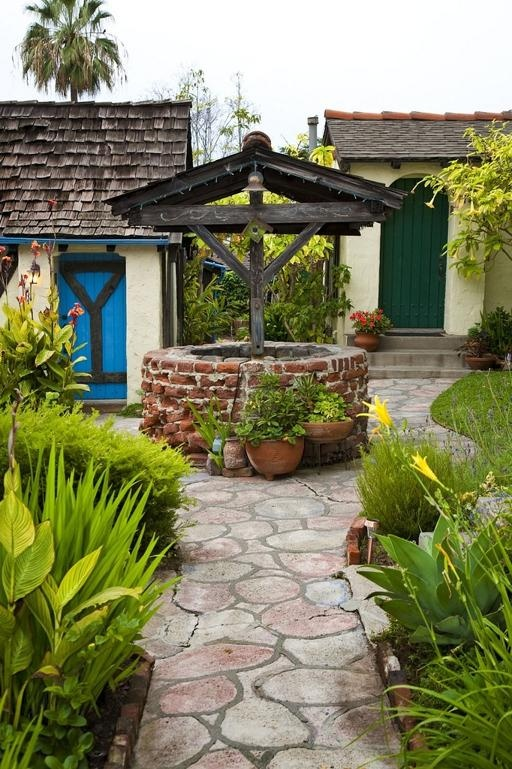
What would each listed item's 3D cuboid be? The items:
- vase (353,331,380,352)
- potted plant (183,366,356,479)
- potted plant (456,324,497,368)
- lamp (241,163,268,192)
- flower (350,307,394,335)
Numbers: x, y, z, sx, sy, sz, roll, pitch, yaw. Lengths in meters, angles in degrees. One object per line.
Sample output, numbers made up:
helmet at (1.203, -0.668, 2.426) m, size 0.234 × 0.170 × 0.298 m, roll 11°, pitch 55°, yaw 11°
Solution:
vase at (2.220, -0.869, 12.855) m, size 0.555 × 0.434 × 0.583 m, roll 2°, pitch 5°, yaw 16°
potted plant at (0.161, 0.352, 6.555) m, size 1.295 × 0.910 × 1.128 m, roll 2°, pitch 3°, yaw 27°
potted plant at (4.175, -0.678, 12.171) m, size 0.531 × 0.809 × 0.862 m, roll -4°, pitch 5°, yaw -25°
lamp at (-0.030, -2.174, 6.721) m, size 0.213 × 0.282 × 0.319 m, roll -2°, pitch 5°, yaw 0°
flower at (2.267, -1.237, 12.737) m, size 0.595 × 0.435 × 0.592 m, roll 3°, pitch 3°, yaw -43°
